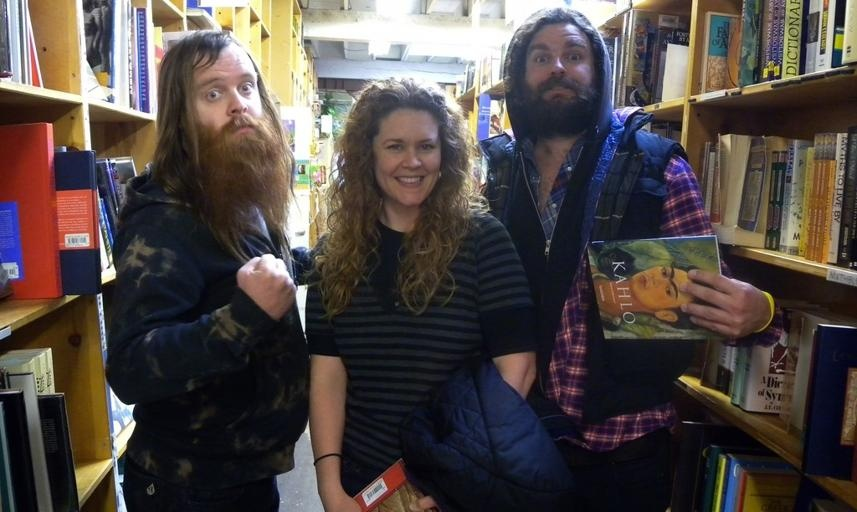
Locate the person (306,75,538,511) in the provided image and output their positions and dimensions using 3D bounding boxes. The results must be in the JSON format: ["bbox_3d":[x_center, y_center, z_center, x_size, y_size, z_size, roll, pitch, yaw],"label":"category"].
[{"bbox_3d":[-0.072,0.127,2.856,0.946,1.761,0.610,-4,9,-11],"label":"person"}]
